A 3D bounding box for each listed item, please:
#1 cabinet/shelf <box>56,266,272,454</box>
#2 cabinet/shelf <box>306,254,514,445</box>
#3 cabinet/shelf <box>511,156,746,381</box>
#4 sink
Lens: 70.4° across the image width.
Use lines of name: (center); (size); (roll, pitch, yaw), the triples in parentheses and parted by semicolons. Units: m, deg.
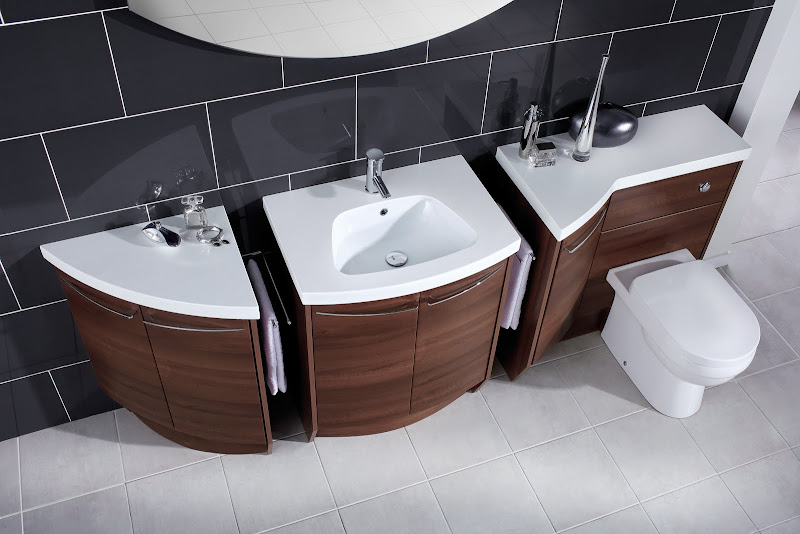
cabinet/shelf: (-0.996, 0.386, 2.769); (0.992, 0.915, 0.571); (9, 31, 14)
cabinet/shelf: (-0.067, 0.316, 2.871); (1.103, 0.968, 0.656); (-11, 35, -24)
cabinet/shelf: (1.126, -0.159, 3.156); (1.481, 1.015, 0.662); (-19, 46, -22)
sink: (-0.031, -0.148, 2.566); (1.010, 0.225, 0.661); (-16, 48, -13)
